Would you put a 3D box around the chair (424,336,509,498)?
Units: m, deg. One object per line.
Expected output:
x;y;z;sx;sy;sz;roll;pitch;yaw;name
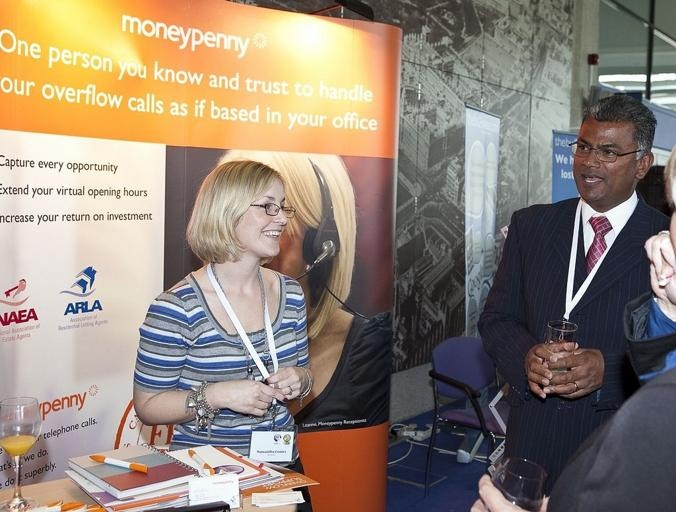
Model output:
0.956;1.095;3.876;0.621;1.006;0.677;5;1;-6;chair

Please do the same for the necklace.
-0.337;0.298;2.072;0.135;0.518;0.024;-8;-13;-32;necklace

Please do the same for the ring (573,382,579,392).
0.801;0.442;1.921;0.006;0.025;0.024;-21;-16;4;ring

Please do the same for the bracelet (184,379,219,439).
-0.458;0.523;1.942;0.048;0.162;0.126;0;-18;5;bracelet
